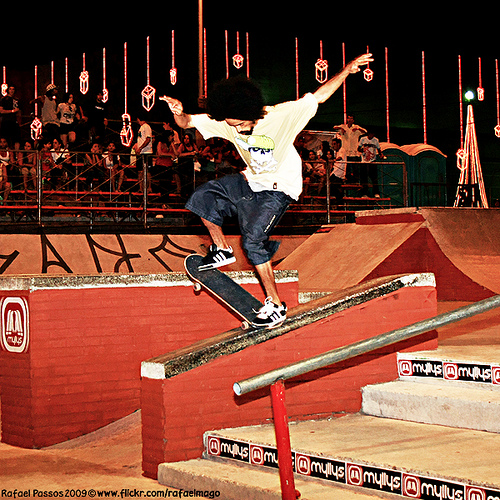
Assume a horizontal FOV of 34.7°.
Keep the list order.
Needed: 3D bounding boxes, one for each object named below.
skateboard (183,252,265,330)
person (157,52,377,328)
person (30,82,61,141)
[{"bbox_3d":[-0.272,0.421,7.539,0.262,1.086,0.165,-36,-29,-43],"label":"skateboard"},{"bbox_3d":[0.054,-0.412,7.071,1.510,2.187,0.474,-3,-3,6],"label":"person"},{"bbox_3d":[-4.166,-2.681,16.320,0.496,1.164,0.621,-2,-3,-13],"label":"person"}]
